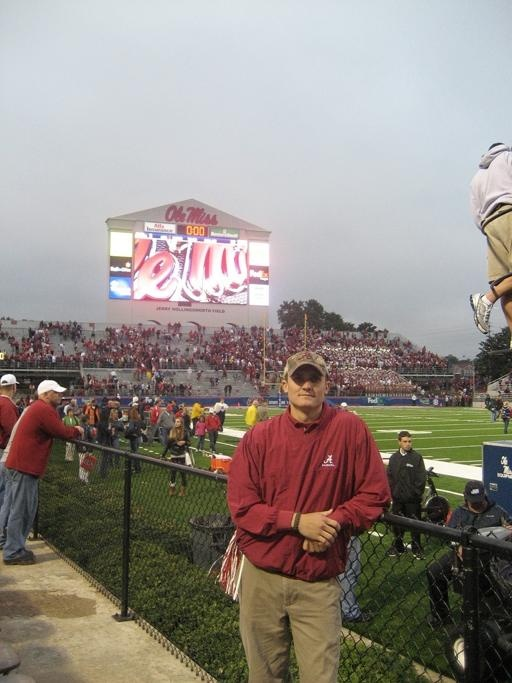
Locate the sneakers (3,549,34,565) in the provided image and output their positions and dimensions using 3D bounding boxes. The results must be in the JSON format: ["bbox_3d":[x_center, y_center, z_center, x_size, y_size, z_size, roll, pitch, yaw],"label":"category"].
[{"bbox_3d":[-2.314,2.109,5.952,0.317,0.135,0.130,0,-2,-20],"label":"sneakers"}]

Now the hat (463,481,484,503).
[{"bbox_3d":[2.023,1.386,5.571,0.152,0.104,0.211,-2,1,13],"label":"hat"}]

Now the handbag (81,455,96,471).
[{"bbox_3d":[-1.667,1.200,6.015,0.197,0.127,0.186,2,1,-32],"label":"handbag"}]

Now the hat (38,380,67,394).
[{"bbox_3d":[-2.047,0.458,6.042,0.314,0.141,0.206,1,-1,-17],"label":"hat"}]

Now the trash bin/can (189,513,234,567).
[{"bbox_3d":[-0.290,1.531,4.836,0.509,0.381,0.507,0,-9,7],"label":"trash bin/can"}]
